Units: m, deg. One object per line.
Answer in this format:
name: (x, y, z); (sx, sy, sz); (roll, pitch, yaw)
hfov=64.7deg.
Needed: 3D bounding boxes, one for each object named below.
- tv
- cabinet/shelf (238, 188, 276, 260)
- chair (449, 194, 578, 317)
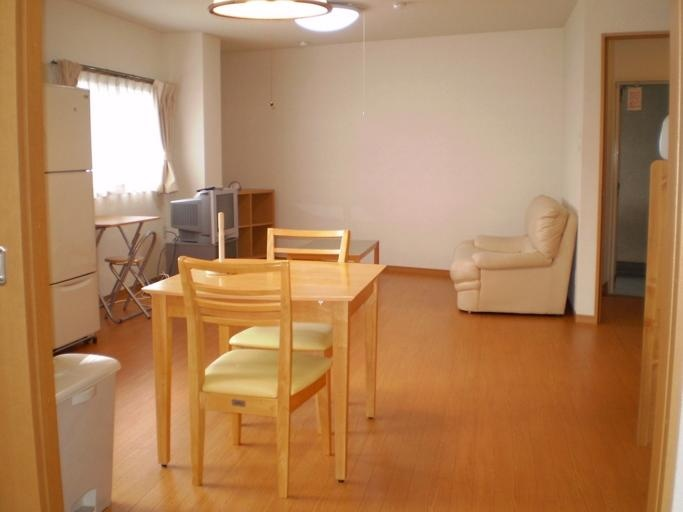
tv: (-1.562, -0.497, 6.229); (0.631, 0.656, 0.676); (1, 10, 2)
cabinet/shelf: (-1.121, -0.410, 7.052); (0.278, 1.014, 0.847); (2, 6, 26)
chair: (1.765, 0.029, 5.891); (1.131, 1.296, 1.282); (1, 10, 9)
